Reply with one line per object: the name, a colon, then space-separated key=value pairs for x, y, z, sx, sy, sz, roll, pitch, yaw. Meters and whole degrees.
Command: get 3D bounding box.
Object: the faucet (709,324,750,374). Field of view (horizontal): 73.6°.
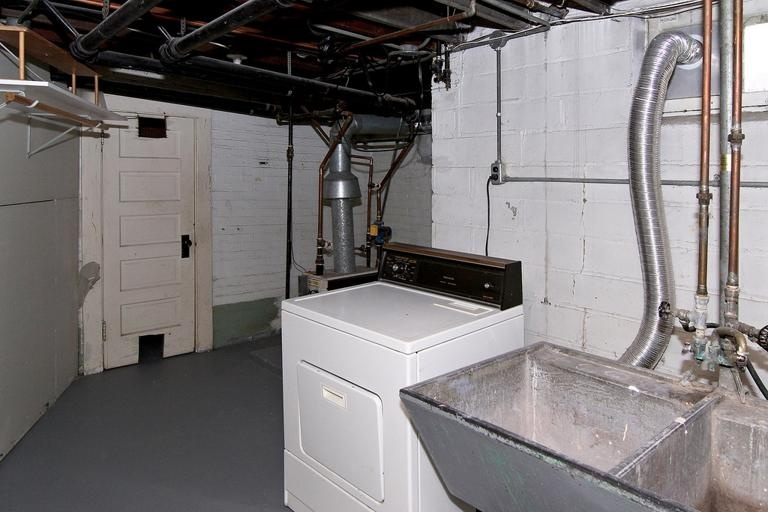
faucet: x=1.622 y=0.396 z=2.378 sx=0.102 sy=0.170 sz=0.290 roll=-7 pitch=2 yaw=11
